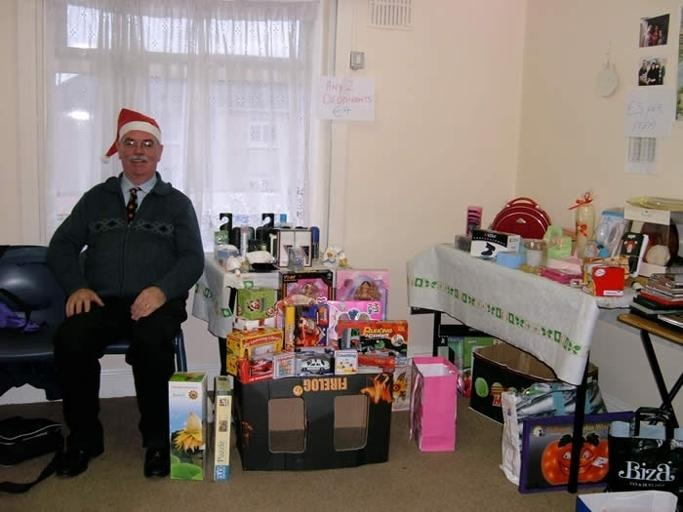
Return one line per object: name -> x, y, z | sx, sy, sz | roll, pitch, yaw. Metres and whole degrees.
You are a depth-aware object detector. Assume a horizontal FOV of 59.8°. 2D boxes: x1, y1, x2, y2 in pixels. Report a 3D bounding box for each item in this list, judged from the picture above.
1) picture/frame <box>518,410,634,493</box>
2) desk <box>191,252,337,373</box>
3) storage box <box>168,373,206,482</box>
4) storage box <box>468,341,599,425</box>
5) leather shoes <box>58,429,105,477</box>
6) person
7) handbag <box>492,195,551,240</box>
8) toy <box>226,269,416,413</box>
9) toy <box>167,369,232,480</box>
picture/frame -> 1.188, 1.009, 3.023 | 0.395, 0.277, 0.057 | -1, 7, -6
desk -> -0.475, 0.198, 3.613 | 0.683, 0.581, 0.727 | -1, 10, -23
storage box -> -0.809, 0.887, 3.134 | 0.186, 0.536, 0.201 | -2, 11, -6
storage box -> 1.049, 0.720, 3.572 | 0.506, 0.361, 0.543 | 0, 10, -10
leather shoes -> -1.385, 1.020, 3.167 | 0.103, 0.142, 0.310 | 2, 17, 3
person -> -1.194, 0.141, 3.320 | 0.833, 1.880, 0.888 | -3, 11, -14
handbag -> 1.197, -0.251, 3.931 | 0.280, 0.275, 0.096 | 3, -1, 15
toy -> -0.120, 0.399, 3.585 | 1.037, 1.157, 0.569 | -1, 1, -11
toy -> -0.727, 0.858, 3.374 | 0.427, 0.715, 0.461 | 0, 6, -8
